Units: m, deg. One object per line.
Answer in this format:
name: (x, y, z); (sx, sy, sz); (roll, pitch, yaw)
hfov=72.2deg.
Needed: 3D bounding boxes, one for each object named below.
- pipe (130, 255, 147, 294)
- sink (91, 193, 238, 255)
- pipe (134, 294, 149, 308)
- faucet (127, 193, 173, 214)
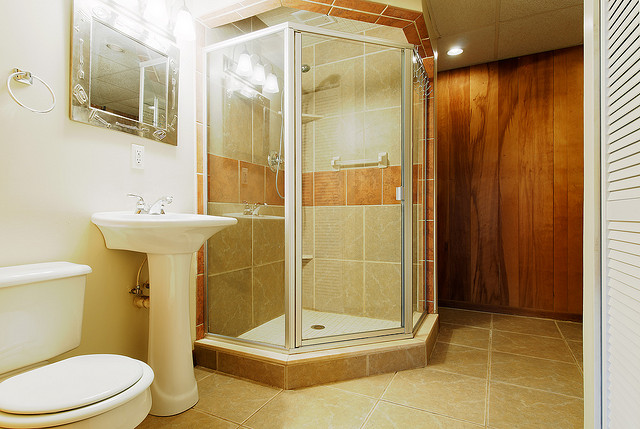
pipe: (-1.223, 0.420, 2.967); (0.064, 0.228, 0.145); (3, 13, 13)
sink: (-0.971, 0.054, 3.083); (0.835, 0.404, 0.988); (0, -1, -10)
pipe: (-1.185, 0.576, 2.907); (0.077, 0.104, 0.040); (5, -3, 4)
faucet: (-1.101, -0.079, 2.929); (0.345, 0.162, 0.107); (-1, 3, -33)
